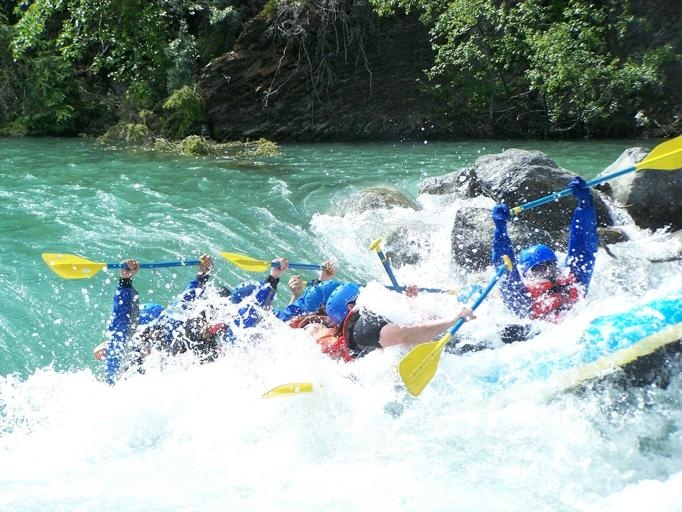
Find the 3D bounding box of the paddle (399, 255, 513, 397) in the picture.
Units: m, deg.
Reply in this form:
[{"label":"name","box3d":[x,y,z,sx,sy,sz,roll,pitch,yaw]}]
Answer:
[{"label":"paddle","box3d":[1.327,0.829,8.802,0.420,1.901,0.126,45,-5,3]}]

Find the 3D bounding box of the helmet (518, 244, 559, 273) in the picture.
[{"label":"helmet","box3d":[2.238,0.017,9.037,0.290,0.209,0.397,-24,-11,-23]}]

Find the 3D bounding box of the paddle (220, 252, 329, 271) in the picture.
[{"label":"paddle","box3d":[-0.951,0.083,10.459,1.335,0.172,0.062,8,18,-24]}]

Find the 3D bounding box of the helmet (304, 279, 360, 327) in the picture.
[{"label":"helmet","box3d":[-0.084,0.485,8.753,0.426,0.472,0.360,33,7,6]}]
